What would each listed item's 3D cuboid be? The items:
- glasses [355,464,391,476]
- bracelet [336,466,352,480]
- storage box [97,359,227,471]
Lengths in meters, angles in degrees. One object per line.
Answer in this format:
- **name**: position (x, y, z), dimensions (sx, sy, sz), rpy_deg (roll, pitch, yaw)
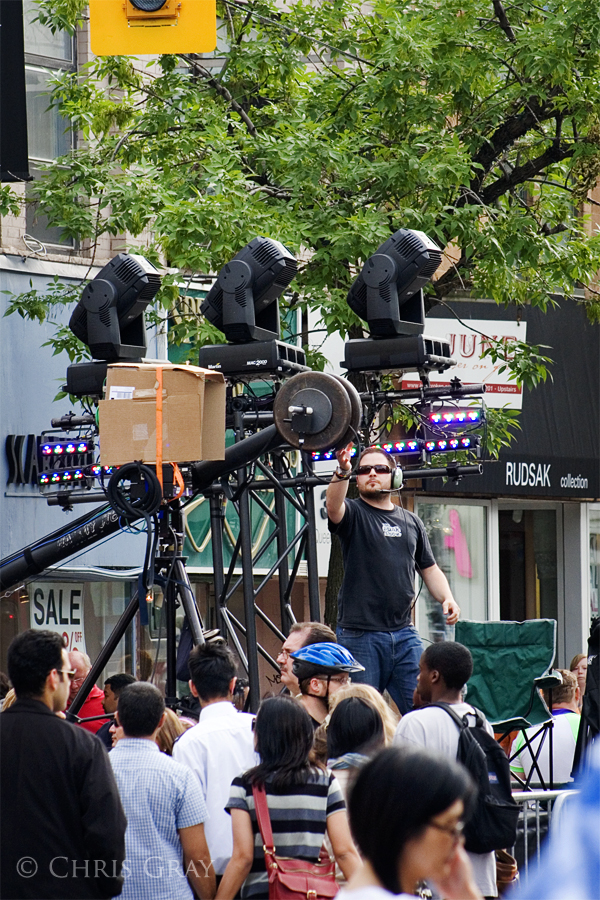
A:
- **glasses**: position (0.407, 0.110, 10.733), dimensions (0.214, 0.066, 0.184), rpy_deg (0, 0, 17)
- **bracelet**: position (0.237, 0.130, 10.344), dimensions (0.077, 0.052, 0.059), rpy_deg (4, -4, 6)
- **storage box**: position (-0.689, -0.202, 10.920), dimensions (0.829, 0.559, 0.838), rpy_deg (-2, -2, 4)
